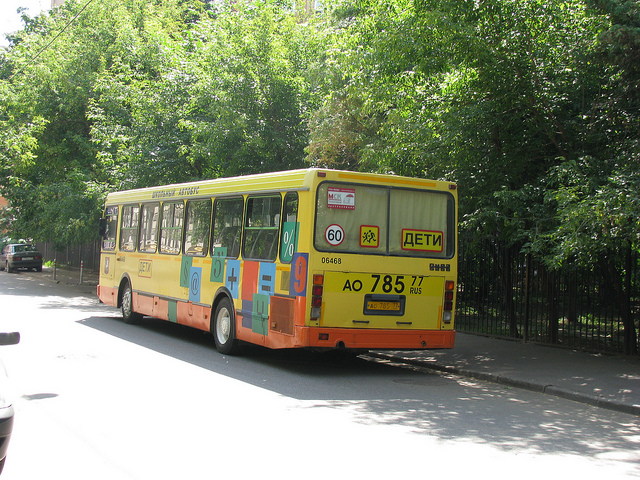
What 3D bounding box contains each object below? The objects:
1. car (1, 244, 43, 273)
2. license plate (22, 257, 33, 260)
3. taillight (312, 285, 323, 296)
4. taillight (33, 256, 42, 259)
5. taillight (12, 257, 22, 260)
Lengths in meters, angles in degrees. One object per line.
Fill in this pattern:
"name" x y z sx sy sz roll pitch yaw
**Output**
"car" -22.224 1.359 40.529 1.936 2.118 3.690 2 -1 -41
"license plate" -21.198 1.343 39.489 0.665 0.157 0.148 3 -1 -22
"taillight" -0.047 0.899 9.627 0.152 0.175 0.163 3 -2 -23
"taillight" -20.624 1.283 39.706 0.497 0.195 0.122 3 -1 -40
"taillight" -21.848 1.341 39.353 0.577 0.152 0.145 3 -1 -25
